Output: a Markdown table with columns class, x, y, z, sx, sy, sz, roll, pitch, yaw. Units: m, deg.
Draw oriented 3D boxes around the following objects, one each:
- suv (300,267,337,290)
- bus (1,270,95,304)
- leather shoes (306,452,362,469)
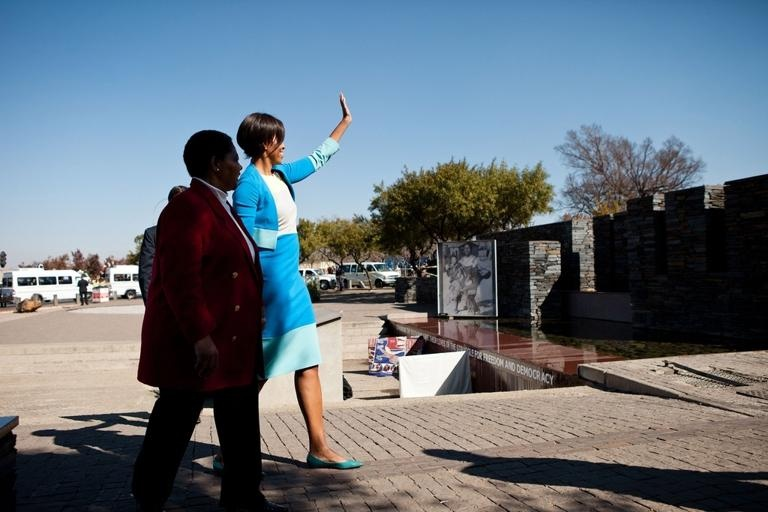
| class | x | y | z | sx | sy | sz | roll | pitch | yaw |
| --- | --- | --- | --- | --- | --- | --- | --- | --- | --- |
| suv | -4.835 | 1.717 | 36.460 | 3.267 | 1.277 | 1.785 | -3 | 4 | -4 |
| bus | -22.946 | 2.170 | 32.822 | 2.295 | 2.838 | 5.882 | 0 | 2 | 42 |
| leather shoes | -0.385 | 1.578 | 3.729 | 0.405 | 0.130 | 0.145 | 0 | -9 | -3 |
